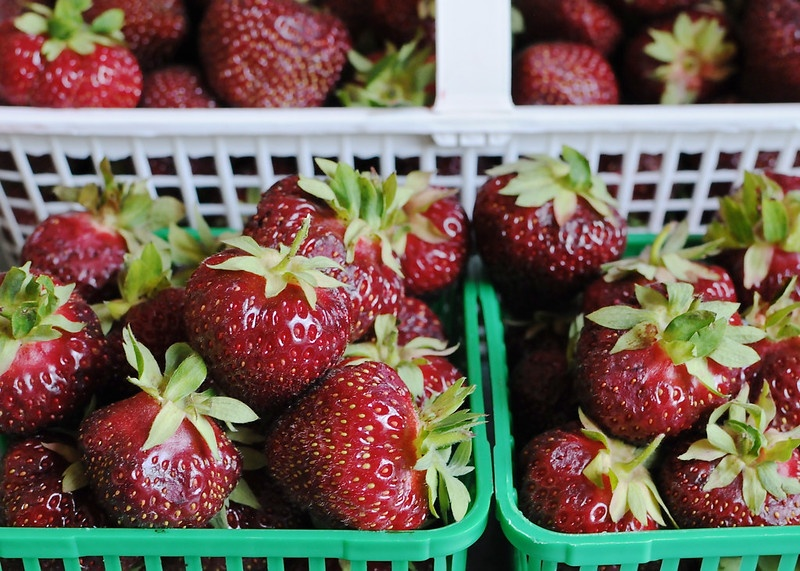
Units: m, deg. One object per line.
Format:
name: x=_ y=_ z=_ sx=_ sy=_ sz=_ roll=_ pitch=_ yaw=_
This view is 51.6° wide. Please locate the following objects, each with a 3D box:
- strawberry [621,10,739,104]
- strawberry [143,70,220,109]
strawberry: x=0.589 y=-0.500 z=1.784 sx=0.191 sy=0.191 sz=0.124 roll=-27 pitch=24 yaw=-4
strawberry: x=-0.436 y=-0.392 z=1.653 sx=0.105 sy=0.071 sz=0.098 roll=4 pitch=39 yaw=11
